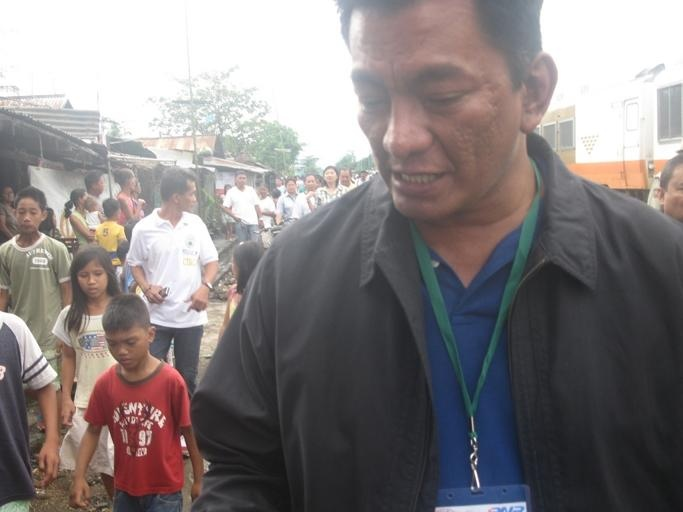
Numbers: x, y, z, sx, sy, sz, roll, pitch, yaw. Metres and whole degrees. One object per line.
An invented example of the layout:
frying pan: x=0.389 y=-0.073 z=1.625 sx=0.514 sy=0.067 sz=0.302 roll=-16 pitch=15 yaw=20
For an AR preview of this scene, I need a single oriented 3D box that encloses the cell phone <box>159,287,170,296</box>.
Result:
cell phone: x=-1.527 y=0.319 z=5.544 sx=0.033 sy=0.074 sz=0.099 roll=2 pitch=3 yaw=35
